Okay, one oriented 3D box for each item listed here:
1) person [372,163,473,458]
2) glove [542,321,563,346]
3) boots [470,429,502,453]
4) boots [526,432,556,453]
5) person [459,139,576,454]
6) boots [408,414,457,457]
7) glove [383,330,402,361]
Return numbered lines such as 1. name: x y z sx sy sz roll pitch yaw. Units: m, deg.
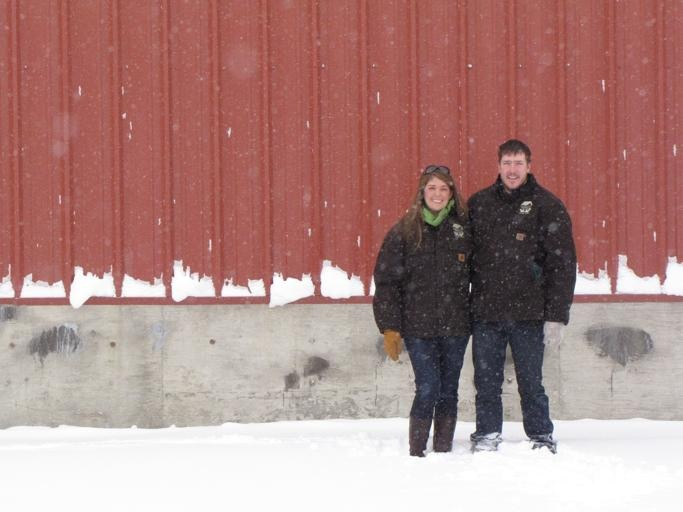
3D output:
1. person: 0.799 0.552 13.397 0.927 2.817 0.490 -2 -8 8
2. glove: 2.037 0.759 13.301 0.235 0.318 0.202 1 -1 6
3. boots: 1.402 1.839 13.409 0.290 0.167 0.137 0 6 4
4. boots: 1.976 1.843 13.394 0.195 0.089 0.201 1 -14 45
5. person: 1.748 0.409 13.451 1.042 3.053 0.578 -2 -8 2
6. boots: 0.876 1.797 13.428 0.461 0.422 0.182 -2 -14 26
7. glove: 0.492 0.871 13.316 0.175 0.279 0.133 1 -8 -15
